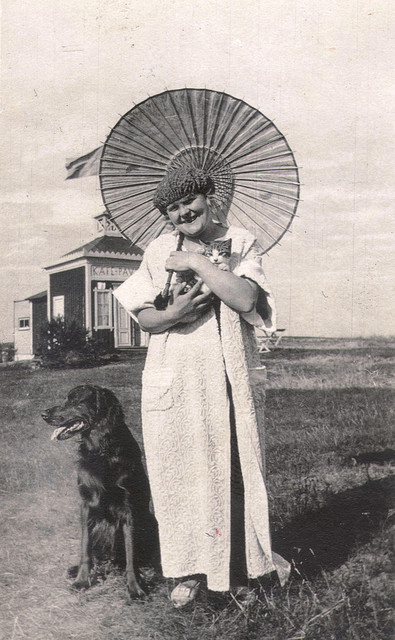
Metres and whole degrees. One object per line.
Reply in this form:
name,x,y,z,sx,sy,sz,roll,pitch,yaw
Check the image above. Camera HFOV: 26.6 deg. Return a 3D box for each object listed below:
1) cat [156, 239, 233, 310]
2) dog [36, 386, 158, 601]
cat,-0.019,-0.224,3.823,0.302,0.342,0.240,2,2,-10
dog,-0.548,0.940,4.667,0.620,1.046,0.595,5,3,35
